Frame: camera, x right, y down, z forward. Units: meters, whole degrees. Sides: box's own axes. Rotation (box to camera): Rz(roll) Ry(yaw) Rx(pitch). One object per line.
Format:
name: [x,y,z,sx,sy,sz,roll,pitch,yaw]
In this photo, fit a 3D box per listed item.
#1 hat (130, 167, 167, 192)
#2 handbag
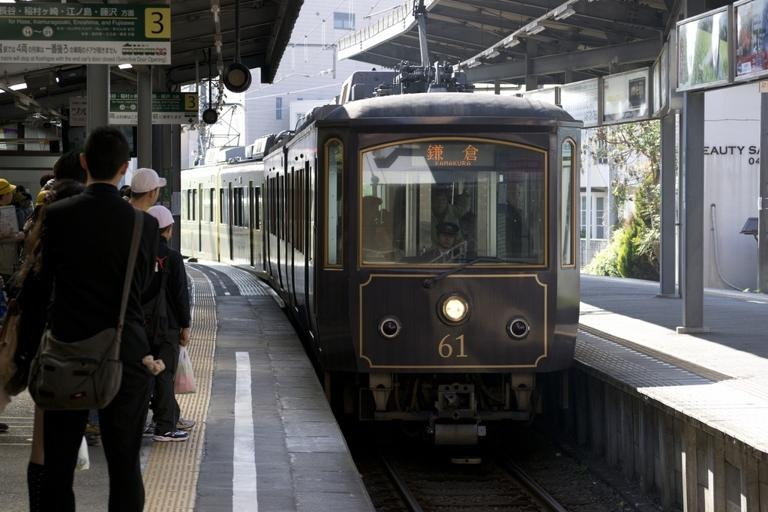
hat: [-1.809,-0.557,5.773,0.200,0.181,0.297,16,28,35]
handbag: [-1.740,0.655,4.183,0.353,0.410,0.219,0,-16,1]
